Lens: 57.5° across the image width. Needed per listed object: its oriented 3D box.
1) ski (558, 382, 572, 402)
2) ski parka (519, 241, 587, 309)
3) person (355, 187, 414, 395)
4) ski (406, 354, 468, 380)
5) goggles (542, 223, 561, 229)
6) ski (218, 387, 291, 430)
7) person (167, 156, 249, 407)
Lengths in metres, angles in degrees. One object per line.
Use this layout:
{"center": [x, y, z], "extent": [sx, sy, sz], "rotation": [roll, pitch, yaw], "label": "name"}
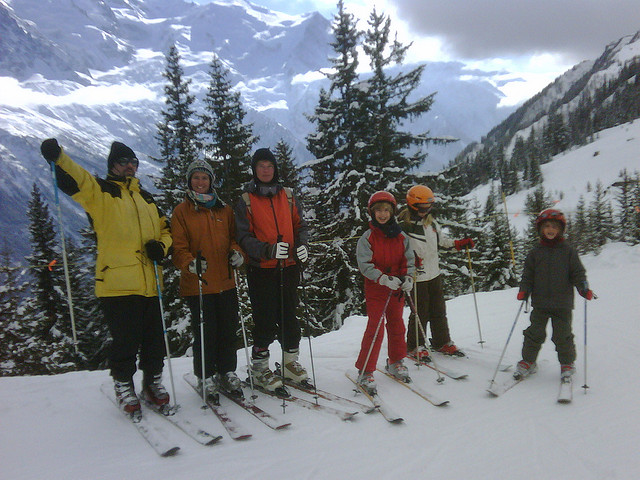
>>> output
{"center": [4.226, 2.627, 9.983], "extent": [0.211, 0.208, 0.426], "rotation": [-4, -2, 26], "label": "ski"}
{"center": [4.300, 0.667, 10.695], "extent": [1.213, 1.346, 0.508], "rotation": [-1, -5, 27], "label": "ski parka"}
{"center": [1.168, 0.922, 10.533], "extent": [0.935, 3.596, 0.865], "rotation": [-4, -2, 35], "label": "person"}
{"center": [2.211, 2.420, 10.967], "extent": [0.198, 0.155, 1.761], "rotation": [-12, 13, -27], "label": "ski"}
{"center": [4.223, -0.241, 10.581], "extent": [0.296, 0.119, 0.039], "rotation": [-3, -2, 18], "label": "goggles"}
{"center": [-1.102, 2.894, 9.868], "extent": [0.214, 0.152, 1.819], "rotation": [-16, 20, -38], "label": "ski"}
{"center": [-1.950, 0.708, 10.204], "extent": [1.287, 4.364, 0.771], "rotation": [-2, -2, -17], "label": "person"}
